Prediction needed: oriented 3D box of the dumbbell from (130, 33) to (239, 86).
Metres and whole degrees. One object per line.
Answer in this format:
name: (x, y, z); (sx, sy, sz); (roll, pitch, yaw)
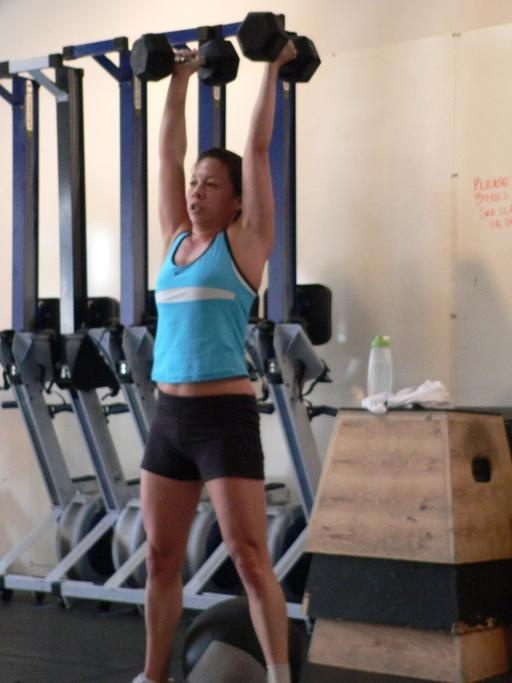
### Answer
dumbbell: (-0.163, -0.676, 2.030); (0.211, 0.123, 0.127); (-3, 5, -23)

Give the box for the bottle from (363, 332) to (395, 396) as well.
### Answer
bottle: (0.385, 0.072, 2.614); (0.076, 0.275, 0.089); (-3, 7, -39)
